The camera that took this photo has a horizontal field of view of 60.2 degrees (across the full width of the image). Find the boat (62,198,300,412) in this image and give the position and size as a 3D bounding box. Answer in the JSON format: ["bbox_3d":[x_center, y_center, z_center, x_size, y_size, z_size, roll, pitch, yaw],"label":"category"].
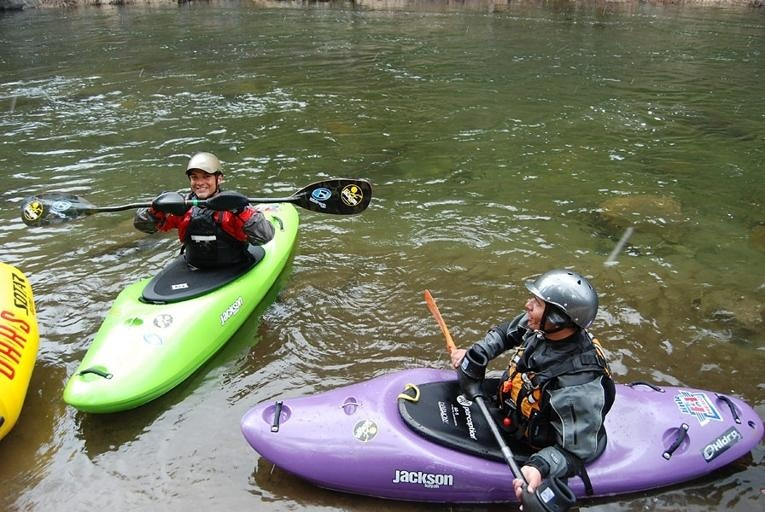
[{"bbox_3d":[-1.986,0.652,7.492,1.240,0.606,3.244,29,42,27],"label":"boat"}]

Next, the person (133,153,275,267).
[{"bbox_3d":[-2.065,-0.498,7.527,2.273,1.163,1.179,2,6,26],"label":"person"}]

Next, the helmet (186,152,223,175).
[{"bbox_3d":[-1.998,-1.027,7.351,0.340,0.248,0.307,-1,26,-1],"label":"helmet"}]

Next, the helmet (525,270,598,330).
[{"bbox_3d":[1.599,0.398,5.927,0.571,0.504,0.434,-2,28,-3],"label":"helmet"}]
